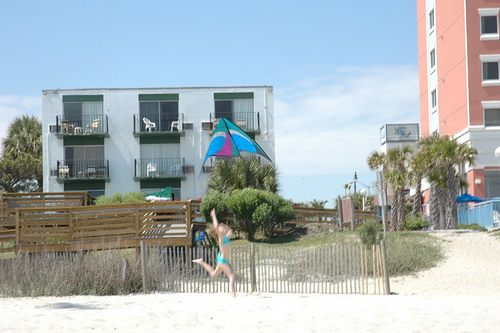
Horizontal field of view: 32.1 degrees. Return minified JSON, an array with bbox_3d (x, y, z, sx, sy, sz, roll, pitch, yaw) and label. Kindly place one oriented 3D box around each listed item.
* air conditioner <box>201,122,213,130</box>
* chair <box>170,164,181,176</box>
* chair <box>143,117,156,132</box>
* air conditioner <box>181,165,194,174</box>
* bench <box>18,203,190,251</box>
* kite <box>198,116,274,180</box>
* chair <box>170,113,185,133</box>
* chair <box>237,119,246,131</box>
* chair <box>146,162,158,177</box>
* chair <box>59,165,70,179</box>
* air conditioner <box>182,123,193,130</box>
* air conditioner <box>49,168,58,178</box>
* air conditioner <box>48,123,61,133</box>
[{"bbox_3d":[-3.041,-2.758,59.228,0.826,0.451,0.540,-1,-1,11],"label":"air conditioner"},{"bbox_3d":[-5.223,0.133,59.414,0.721,0.974,0.494,-2,-3,-4],"label":"chair"},{"bbox_3d":[-7.010,-2.887,59.463,0.916,1.091,0.756,-3,-1,40],"label":"chair"},{"bbox_3d":[-4.287,0.202,59.626,0.543,0.536,0.337,-1,-7,-5],"label":"air conditioner"},{"bbox_3d":[-7.451,2.963,43.230,8.100,2.100,1.866,-1,-6,-12],"label":"bench"},{"bbox_3d":[-1.287,-1.444,49.159,4.132,2.674,2.664,-10,17,2],"label":"kite"},{"bbox_3d":[-4.971,-3.008,59.681,1.168,1.582,0.899,0,-8,6],"label":"chair"},{"bbox_3d":[-0.660,-2.816,59.547,0.818,0.829,0.619,0,-5,-5],"label":"chair"},{"bbox_3d":[-6.894,0.196,59.578,0.772,1.274,0.833,1,-11,-13],"label":"chair"},{"bbox_3d":[-12.824,0.383,59.327,0.816,0.755,0.971,1,21,-13],"label":"chair"},{"bbox_3d":[-4.327,-2.753,59.665,0.616,0.431,0.118,-2,-6,-5],"label":"air conditioner"},{"bbox_3d":[-13.570,0.483,59.335,0.474,0.895,0.648,0,0,-5],"label":"air conditioner"},{"bbox_3d":[-13.492,-2.597,59.559,0.911,0.906,0.501,0,-3,-2],"label":"air conditioner"}]
